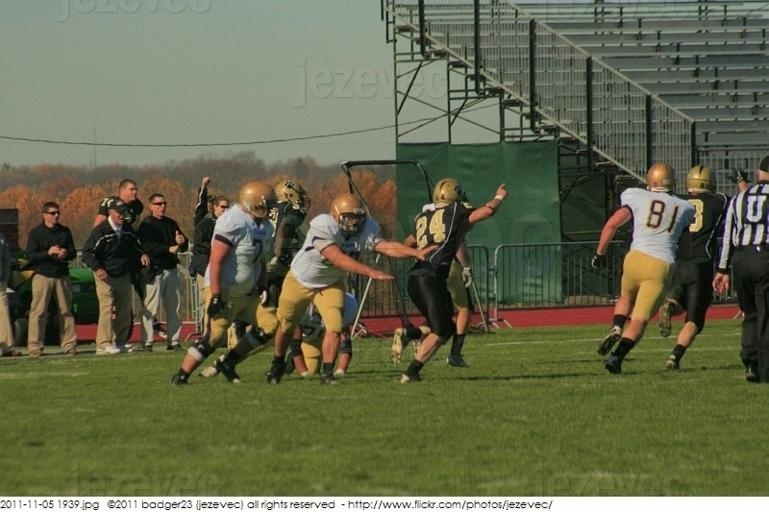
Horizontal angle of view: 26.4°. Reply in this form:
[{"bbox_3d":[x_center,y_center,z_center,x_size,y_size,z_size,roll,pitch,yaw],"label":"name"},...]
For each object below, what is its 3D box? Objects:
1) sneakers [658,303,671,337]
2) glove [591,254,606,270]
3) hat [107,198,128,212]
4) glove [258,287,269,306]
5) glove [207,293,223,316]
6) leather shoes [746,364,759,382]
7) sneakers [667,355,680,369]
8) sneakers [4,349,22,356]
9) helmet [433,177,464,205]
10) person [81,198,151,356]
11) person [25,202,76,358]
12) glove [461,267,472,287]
[{"bbox_3d":[4.988,1.136,29.298,0.275,0.597,0.287,1,-5,29],"label":"sneakers"},{"bbox_3d":[3.785,0.072,29.235,0.249,0.286,0.659,2,10,4],"label":"glove"},{"bbox_3d":[-5.218,-0.988,31.919,0.321,0.112,0.231,21,5,31],"label":"hat"},{"bbox_3d":[-2.128,0.718,28.756,0.169,0.221,0.083,21,-3,5],"label":"glove"},{"bbox_3d":[-2.912,0.835,28.046,0.275,0.348,0.133,18,-5,13],"label":"glove"},{"bbox_3d":[6.361,2.033,28.315,0.195,0.287,0.141,2,2,12],"label":"leather shoes"},{"bbox_3d":[5.128,1.900,29.087,0.186,0.175,0.278,0,-5,-3],"label":"sneakers"},{"bbox_3d":[-7.277,1.891,32.041,0.369,0.151,0.128,0,6,-10],"label":"sneakers"},{"bbox_3d":[1.142,-1.195,29.898,0.565,0.443,0.411,-16,19,-29],"label":"helmet"},{"bbox_3d":[-5.317,0.383,32.094,1.091,3.031,0.535,1,1,-9],"label":"person"},{"bbox_3d":[-6.572,0.440,32.192,1.007,3.004,0.901,1,2,-17],"label":"person"},{"bbox_3d":[1.630,0.404,31.742,0.119,0.341,0.267,-7,12,-40],"label":"glove"}]
